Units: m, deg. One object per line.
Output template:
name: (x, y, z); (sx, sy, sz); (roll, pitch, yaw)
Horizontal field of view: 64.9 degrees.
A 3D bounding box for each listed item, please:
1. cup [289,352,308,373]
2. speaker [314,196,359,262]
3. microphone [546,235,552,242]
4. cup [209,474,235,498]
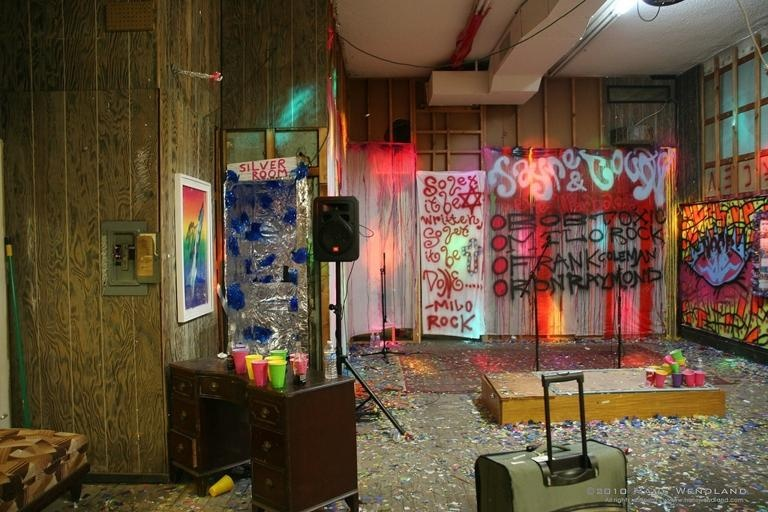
cup: (-0.758, 0.955, 5.401); (0.157, 0.170, 0.156); (-2, -1, 0)
speaker: (-0.496, -0.227, 6.459); (0.483, 0.737, 0.373); (-3, -18, 0)
microphone: (2.724, -0.286, 9.993); (0.094, 0.097, 0.029); (-21, 13, -20)
cup: (-1.510, 2.152, 5.614); (0.167, 0.175, 0.223); (0, 11, 35)
